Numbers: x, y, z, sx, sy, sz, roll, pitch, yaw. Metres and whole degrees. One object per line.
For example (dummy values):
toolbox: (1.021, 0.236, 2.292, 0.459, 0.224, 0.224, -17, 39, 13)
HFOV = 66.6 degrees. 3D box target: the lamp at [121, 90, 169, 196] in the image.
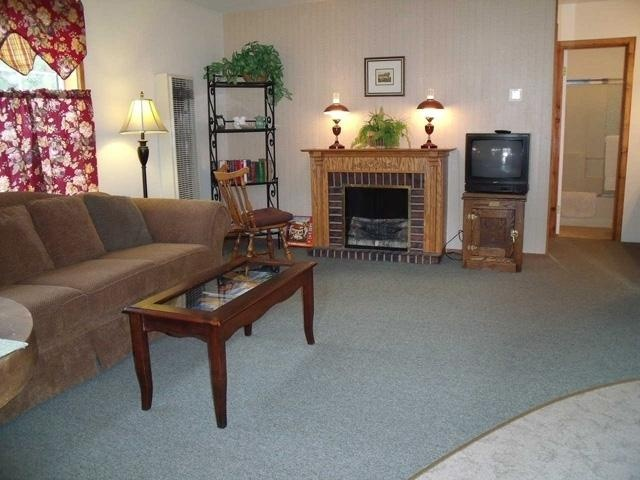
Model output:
lamp: (-1.819, -0.805, 4.978, 0.508, 1.217, 0.504, 1, 14, -6)

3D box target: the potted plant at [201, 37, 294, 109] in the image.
potted plant: (-0.818, -2.073, 5.839, 0.908, 0.508, 0.827, -1, 19, -16)

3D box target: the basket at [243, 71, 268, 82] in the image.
basket: (-0.779, -1.958, 5.861, 0.168, 0.056, 0.158, 11, 14, 42)

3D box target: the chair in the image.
chair: (-0.663, -0.215, 4.938, 0.726, 0.975, 0.665, -9, 13, -38)

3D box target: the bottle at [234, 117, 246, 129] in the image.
bottle: (-0.989, -1.437, 5.990, 0.166, 0.200, 0.088, -1, 36, -6)

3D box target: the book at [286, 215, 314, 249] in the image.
book: (-0.247, -0.084, 6.004, 0.419, 0.453, 0.048, -7, -30, 20)

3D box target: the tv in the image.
tv: (1.882, -0.845, 5.099, 0.654, 0.656, 0.424, 7, 31, 27)

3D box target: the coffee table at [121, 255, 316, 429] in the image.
coffee table: (-0.507, 0.518, 2.923, 0.645, 0.557, 1.123, 3, 14, 24)

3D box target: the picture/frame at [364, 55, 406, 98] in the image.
picture/frame: (0.769, -1.896, 5.616, 0.512, 0.446, 0.051, 2, 4, 16)

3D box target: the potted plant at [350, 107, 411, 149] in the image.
potted plant: (0.720, -1.291, 5.540, 0.485, 0.411, 0.581, -2, 14, -23)

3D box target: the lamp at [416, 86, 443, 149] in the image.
lamp: (1.195, -1.319, 5.293, 0.291, 0.612, 0.589, 4, 14, 12)

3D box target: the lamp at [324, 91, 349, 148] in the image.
lamp: (0.201, -1.398, 5.665, 0.293, 0.640, 0.680, 1, 14, 0)

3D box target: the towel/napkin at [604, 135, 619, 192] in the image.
towel/napkin: (4.495, -1.190, 7.531, 0.196, 0.854, 0.417, 8, 15, 24)

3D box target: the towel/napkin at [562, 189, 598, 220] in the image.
towel/napkin: (3.959, -0.515, 7.394, 0.438, 0.436, 0.142, 2, -10, 23)

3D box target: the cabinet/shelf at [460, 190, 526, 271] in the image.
cabinet/shelf: (1.756, -0.026, 4.940, 0.562, 0.725, 0.519, 5, -6, 20)
